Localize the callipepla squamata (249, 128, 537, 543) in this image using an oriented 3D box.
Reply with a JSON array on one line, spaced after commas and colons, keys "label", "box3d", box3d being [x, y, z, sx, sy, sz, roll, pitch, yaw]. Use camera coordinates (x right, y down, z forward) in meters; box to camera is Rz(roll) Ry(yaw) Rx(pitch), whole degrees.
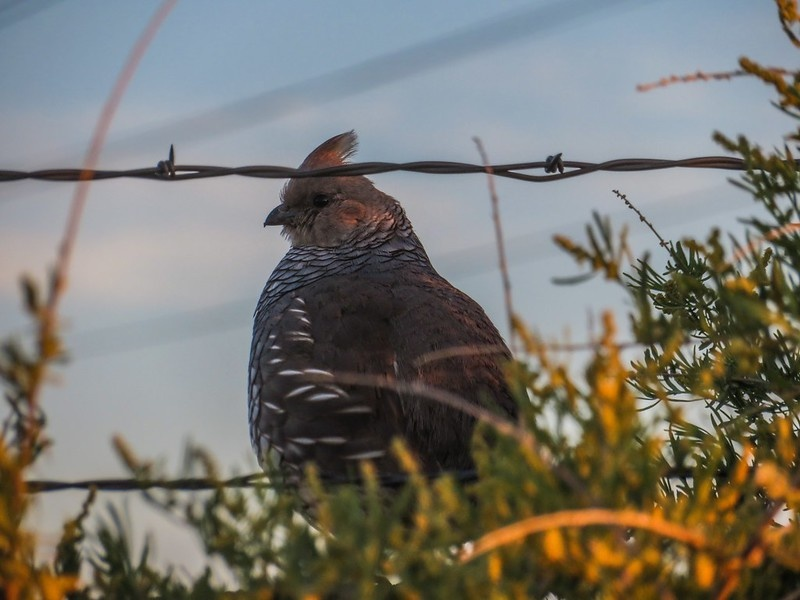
[{"label": "callipepla squamata", "box3d": [-0.153, 0.021, 6.142, 1.058, 1.867, 0.662, -8, -30, -3]}]
